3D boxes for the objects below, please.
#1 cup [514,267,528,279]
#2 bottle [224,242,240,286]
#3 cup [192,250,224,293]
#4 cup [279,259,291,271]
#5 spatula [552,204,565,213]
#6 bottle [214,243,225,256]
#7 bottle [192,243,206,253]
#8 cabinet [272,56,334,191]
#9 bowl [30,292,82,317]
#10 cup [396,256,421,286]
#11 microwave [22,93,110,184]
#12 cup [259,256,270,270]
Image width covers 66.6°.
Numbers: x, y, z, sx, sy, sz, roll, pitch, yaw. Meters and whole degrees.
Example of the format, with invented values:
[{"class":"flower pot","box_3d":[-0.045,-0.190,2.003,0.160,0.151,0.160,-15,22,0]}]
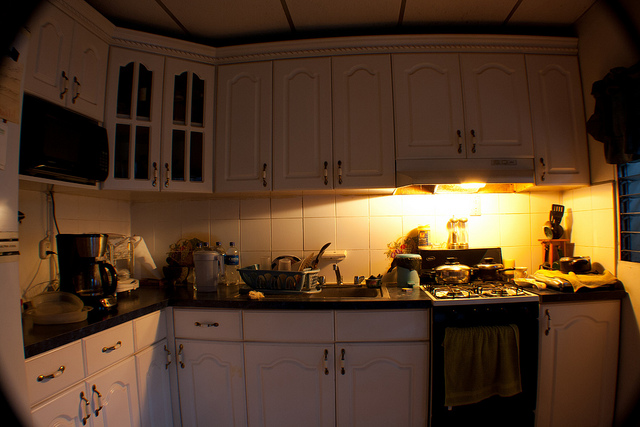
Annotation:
[{"class":"cup","box_3d":[1.560,0.462,3.782,0.096,0.079,0.074,-1,-2,29]},{"class":"bottle","box_3d":[-0.705,0.400,3.889,0.119,0.338,0.164,-1,-3,-9]},{"class":"cup","box_3d":[-0.841,0.436,3.678,0.223,0.304,0.147,-1,-3,-9]},{"class":"cup","box_3d":[-0.271,0.396,3.715,0.080,0.075,0.068,3,-6,-23]},{"class":"spatula","box_3d":[1.863,-0.033,3.802,0.085,0.064,0.082,9,-5,2]},{"class":"bottle","box_3d":[-0.818,0.289,3.886,0.082,0.134,0.082,-2,-2,0]},{"class":"bottle","box_3d":[-0.972,0.275,3.914,0.083,0.078,0.081,0,-2,-37]},{"class":"cabinet","box_3d":[-0.125,-0.676,3.718,0.534,0.947,0.338,1,2,8]},{"class":"bowl","box_3d":[-1.664,0.570,3.090,0.222,0.051,0.168,-3,17,-32]},{"class":"cup","box_3d":[0.672,0.446,3.760,0.228,0.239,0.223,0,-8,0]},{"class":"microwave","box_3d":[-1.845,-0.431,3.320,0.391,0.514,0.736,-2,-5,14]},{"class":"cup","box_3d":[-0.422,0.380,3.814,0.088,0.148,0.087,0,-3,0]}]
